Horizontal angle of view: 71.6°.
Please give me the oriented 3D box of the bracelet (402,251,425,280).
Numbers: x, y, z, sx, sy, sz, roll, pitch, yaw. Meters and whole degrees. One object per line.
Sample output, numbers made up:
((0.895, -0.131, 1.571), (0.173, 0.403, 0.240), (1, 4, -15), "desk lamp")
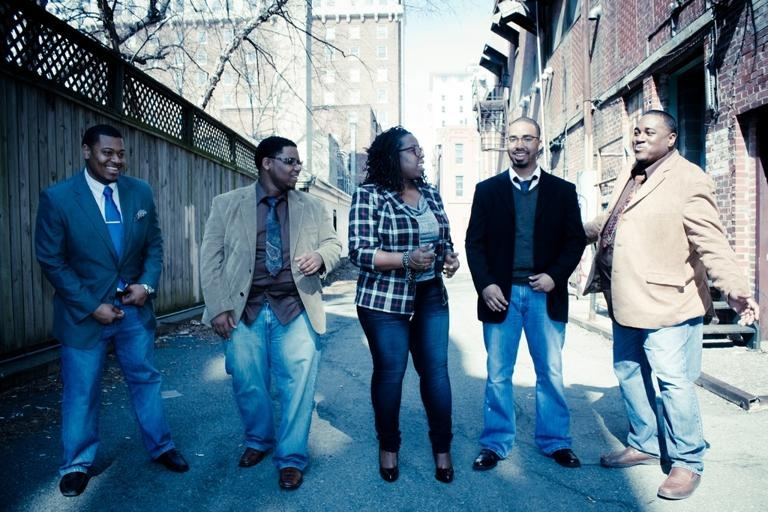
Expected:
((0.251, 0.104, 4.789), (0.093, 0.191, 0.237), (-13, -25, -11), "bracelet")

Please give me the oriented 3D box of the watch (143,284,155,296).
((-2.201, 0.321, 5.004), (0.088, 0.070, 0.036), (27, 54, 34), "watch")

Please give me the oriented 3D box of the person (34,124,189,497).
((-2.491, 0.404, 4.853), (1.028, 3.136, 0.853), (-6, 11, -34), "person")

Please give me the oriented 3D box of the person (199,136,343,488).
((-1.054, 0.414, 5.134), (1.119, 3.049, 1.001), (4, 10, 26), "person")

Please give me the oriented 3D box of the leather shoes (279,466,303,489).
((-0.822, 1.966, 4.719), (0.186, 0.141, 0.151), (-1, 9, -5), "leather shoes")

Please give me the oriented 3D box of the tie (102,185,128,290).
((-2.473, -0.196, 4.957), (0.183, 1.094, 0.149), (-1, -3, -31), "tie")

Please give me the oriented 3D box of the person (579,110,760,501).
((2.528, 0.345, 4.862), (0.796, 3.296, 1.344), (-7, 11, -36), "person")

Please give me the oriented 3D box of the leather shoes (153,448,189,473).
((-1.967, 1.881, 4.969), (0.333, 0.138, 0.159), (14, 18, 18), "leather shoes")

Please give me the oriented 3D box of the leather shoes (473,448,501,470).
((0.955, 1.914, 4.994), (0.121, 0.124, 0.280), (-9, -17, 36), "leather shoes")

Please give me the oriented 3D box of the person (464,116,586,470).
((1.339, 0.324, 5.105), (1.095, 3.212, 0.830), (1, 9, 8), "person")

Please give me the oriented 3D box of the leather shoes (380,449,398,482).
((0.036, 1.896, 4.849), (0.193, 0.233, 0.177), (2, 9, 12), "leather shoes")

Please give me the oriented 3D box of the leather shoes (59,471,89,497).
((-2.664, 1.949, 4.613), (0.226, 0.171, 0.203), (-6, 11, -35), "leather shoes")

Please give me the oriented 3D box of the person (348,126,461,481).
((0.175, 0.400, 4.949), (1.019, 3.148, 0.846), (1, 9, 6), "person")

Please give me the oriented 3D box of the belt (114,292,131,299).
((-2.406, 0.359, 4.899), (0.069, 0.073, 0.018), (10, 2, -15), "belt")

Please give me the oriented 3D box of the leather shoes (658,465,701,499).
((2.576, 1.953, 4.636), (0.458, 0.205, 0.182), (-7, 11, -36), "leather shoes")

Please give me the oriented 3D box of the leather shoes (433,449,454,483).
((0.542, 1.905, 4.852), (0.193, 0.216, 0.202), (3, 9, 15), "leather shoes")

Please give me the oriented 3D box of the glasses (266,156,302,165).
((-0.914, -0.892, 5.009), (0.136, 0.042, 0.137), (14, 4, 20), "glasses")
